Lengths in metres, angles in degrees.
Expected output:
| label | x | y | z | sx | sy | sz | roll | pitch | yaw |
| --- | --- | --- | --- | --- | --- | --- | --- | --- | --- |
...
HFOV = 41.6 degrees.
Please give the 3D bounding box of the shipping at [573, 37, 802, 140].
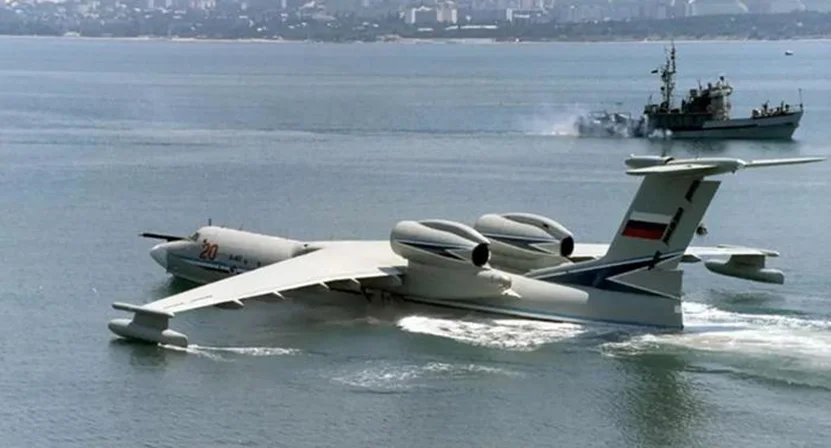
| label | x | y | z | sx | sy | sz | roll | pitch | yaw |
| --- | --- | --- | --- | --- | --- | --- | --- | --- | --- |
| shipping | 39.635 | -16.797 | 157.067 | 31.516 | 8.340 | 8.695 | 5 | 17 | 32 |
